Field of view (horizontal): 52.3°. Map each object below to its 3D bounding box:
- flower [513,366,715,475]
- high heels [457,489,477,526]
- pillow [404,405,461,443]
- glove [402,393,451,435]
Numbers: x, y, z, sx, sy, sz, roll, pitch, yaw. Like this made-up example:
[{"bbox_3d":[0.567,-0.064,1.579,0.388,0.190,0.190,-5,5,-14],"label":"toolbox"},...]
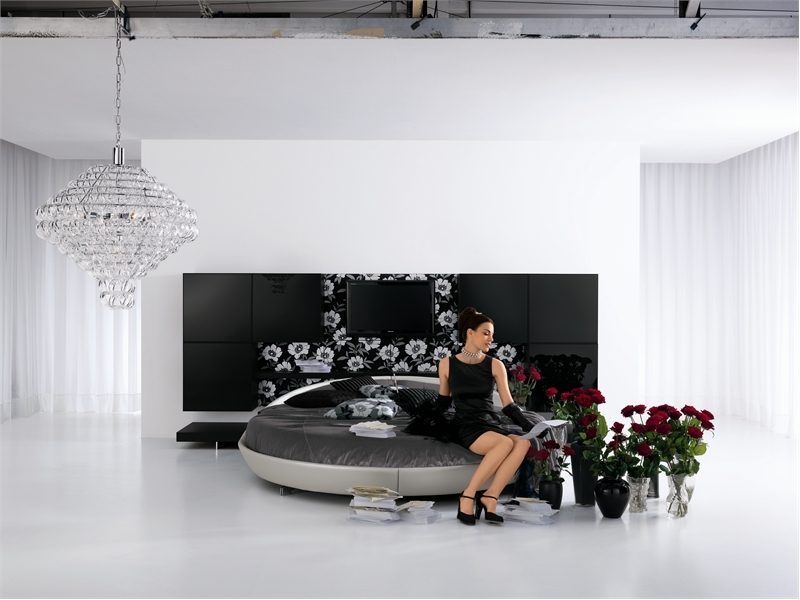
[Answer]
[{"bbox_3d":[1.787,1.052,6.510,1.129,0.675,0.905,-2,8,-9],"label":"flower"},{"bbox_3d":[0.532,1.565,6.263,0.167,0.237,0.233,1,8,7],"label":"high heels"},{"bbox_3d":[0.279,1.014,6.586,0.283,0.292,0.124,-4,-35,8],"label":"pillow"},{"bbox_3d":[0.276,0.925,6.684,0.324,0.334,0.143,11,32,17],"label":"glove"}]
